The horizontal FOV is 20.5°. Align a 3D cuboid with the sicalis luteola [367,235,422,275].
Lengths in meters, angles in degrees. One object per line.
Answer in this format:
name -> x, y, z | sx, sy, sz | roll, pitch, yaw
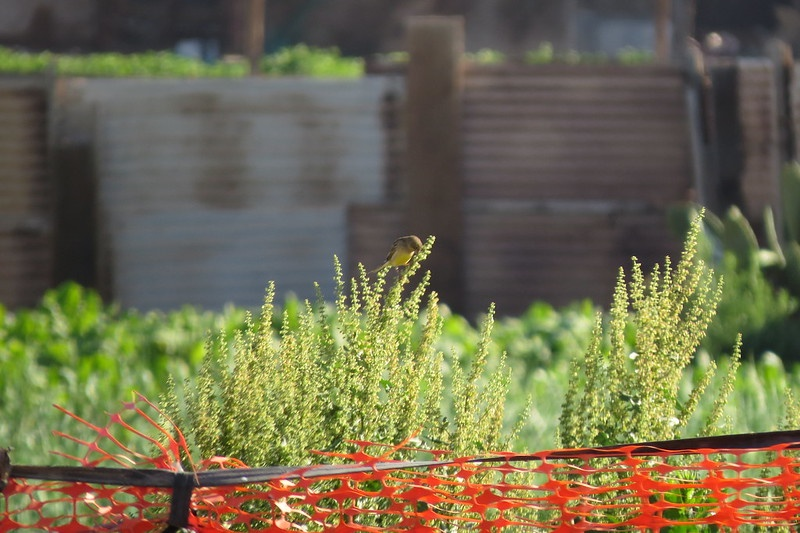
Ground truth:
sicalis luteola -> -0.023, -0.065, 10.251 | 0.111, 0.162, 0.350 | 5, -5, -42
